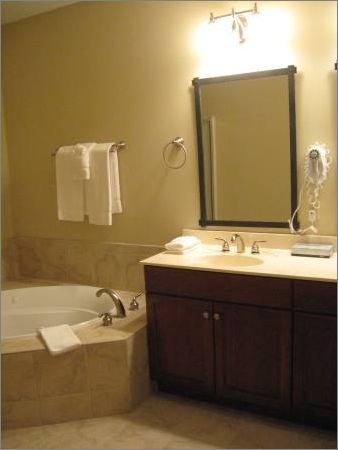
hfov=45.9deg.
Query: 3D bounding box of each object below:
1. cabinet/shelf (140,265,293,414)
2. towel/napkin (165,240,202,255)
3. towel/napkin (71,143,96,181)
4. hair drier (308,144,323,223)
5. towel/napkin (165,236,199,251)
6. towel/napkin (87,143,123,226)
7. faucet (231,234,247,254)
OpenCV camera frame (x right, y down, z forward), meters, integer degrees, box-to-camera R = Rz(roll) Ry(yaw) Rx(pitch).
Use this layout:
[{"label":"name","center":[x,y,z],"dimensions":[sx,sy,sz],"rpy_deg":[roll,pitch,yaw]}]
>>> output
[{"label":"cabinet/shelf","center":[0.248,0.541,1.925],"dimensions":[0.691,0.653,0.276],"rpy_deg":[0,2,26]},{"label":"towel/napkin","center":[0.086,0.115,2.374],"dimensions":[0.138,0.076,0.263],"rpy_deg":[0,6,26]},{"label":"towel/napkin","center":[-0.597,-0.445,2.818],"dimensions":[0.163,0.237,0.082],"rpy_deg":[1,-1,25]},{"label":"hair drier","center":[0.775,-0.214,2.106],"dimensions":[0.067,0.383,0.097],"rpy_deg":[0,6,21]},{"label":"towel/napkin","center":[0.087,0.103,2.334],"dimensions":[0.095,0.042,0.129],"rpy_deg":[1,8,27]},{"label":"towel/napkin","center":[-0.465,-0.280,2.817],"dimensions":[0.259,0.590,0.171],"rpy_deg":[3,7,43]},{"label":"faucet","center":[0.396,0.098,2.272],"dimensions":[0.079,0.111,0.261],"rpy_deg":[-2,6,9]}]
